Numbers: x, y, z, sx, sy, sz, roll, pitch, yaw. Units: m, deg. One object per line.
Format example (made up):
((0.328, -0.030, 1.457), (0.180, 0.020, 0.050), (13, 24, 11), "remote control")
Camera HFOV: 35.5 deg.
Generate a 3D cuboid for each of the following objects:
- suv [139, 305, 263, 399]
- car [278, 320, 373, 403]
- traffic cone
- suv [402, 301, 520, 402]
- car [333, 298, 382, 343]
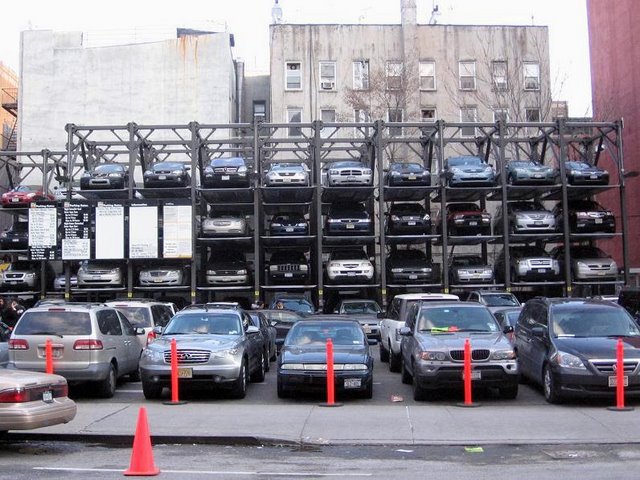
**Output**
((-3.151, 2.993, 28.350), (2.778, 2.083, 6.131), (1, -1, 5), "suv")
((0.178, 3.172, 27.879), (2.668, 2.021, 5.455), (-1, -2, 1), "car")
((-3.635, 4.231, 20.891), (1.047, 1.266, 0.995), (0, -2, 9), "traffic cone")
((3.636, 2.849, 27.637), (2.918, 2.416, 5.869), (-3, 1, -6), "suv")
((1.283, 2.903, 37.230), (1.547, 1.418, 3.680), (-1, 4, -10), "car")
